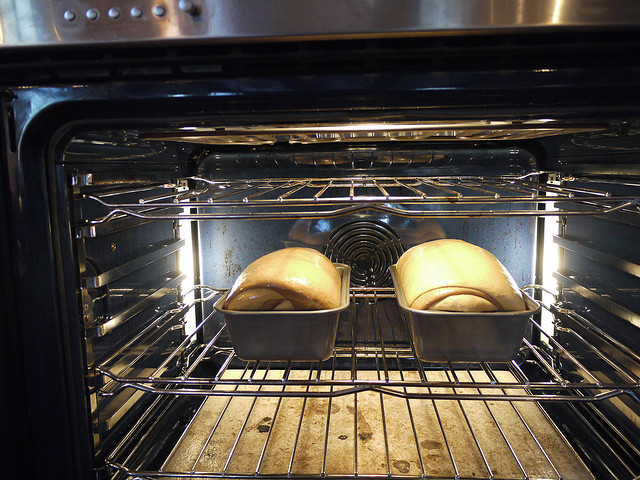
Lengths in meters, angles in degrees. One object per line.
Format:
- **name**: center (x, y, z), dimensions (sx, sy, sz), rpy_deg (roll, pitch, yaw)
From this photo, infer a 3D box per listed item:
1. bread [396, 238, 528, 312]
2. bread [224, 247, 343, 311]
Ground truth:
- **bread**: center (0.289, 0.052, 1.013), dimensions (0.240, 0.287, 0.080), rpy_deg (-4, -69, 5)
- **bread**: center (-0.067, 0.061, 1.072), dimensions (0.262, 0.332, 0.088), rpy_deg (1, -77, 10)
